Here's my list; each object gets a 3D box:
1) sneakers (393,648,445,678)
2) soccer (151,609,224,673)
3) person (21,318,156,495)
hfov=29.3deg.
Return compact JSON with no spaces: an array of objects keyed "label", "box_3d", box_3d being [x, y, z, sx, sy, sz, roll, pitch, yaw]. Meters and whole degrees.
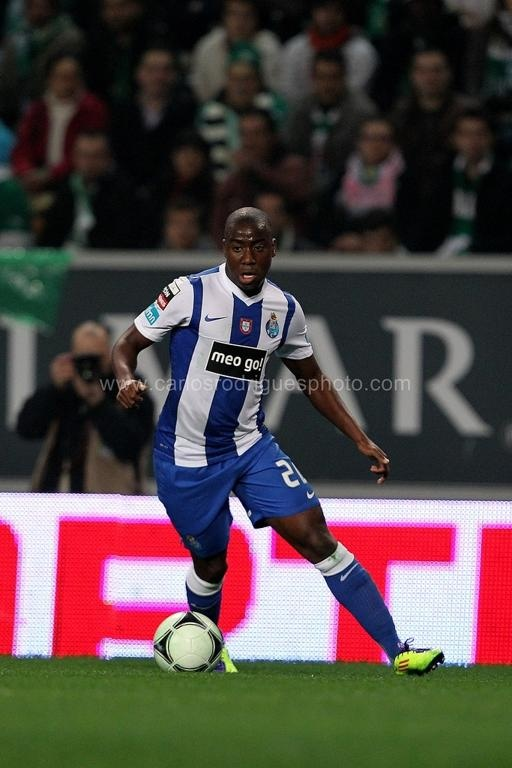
[{"label":"sneakers","box_3d":[0.617,1.048,3.724,0.222,0.093,0.078,-18,2,22]},{"label":"soccer","box_3d":[-0.256,0.986,3.795,0.238,0.235,0.219,-12,43,50]},{"label":"person","box_3d":[-1.163,0.320,6.437,0.723,1.438,0.491,6,19,-6]}]
